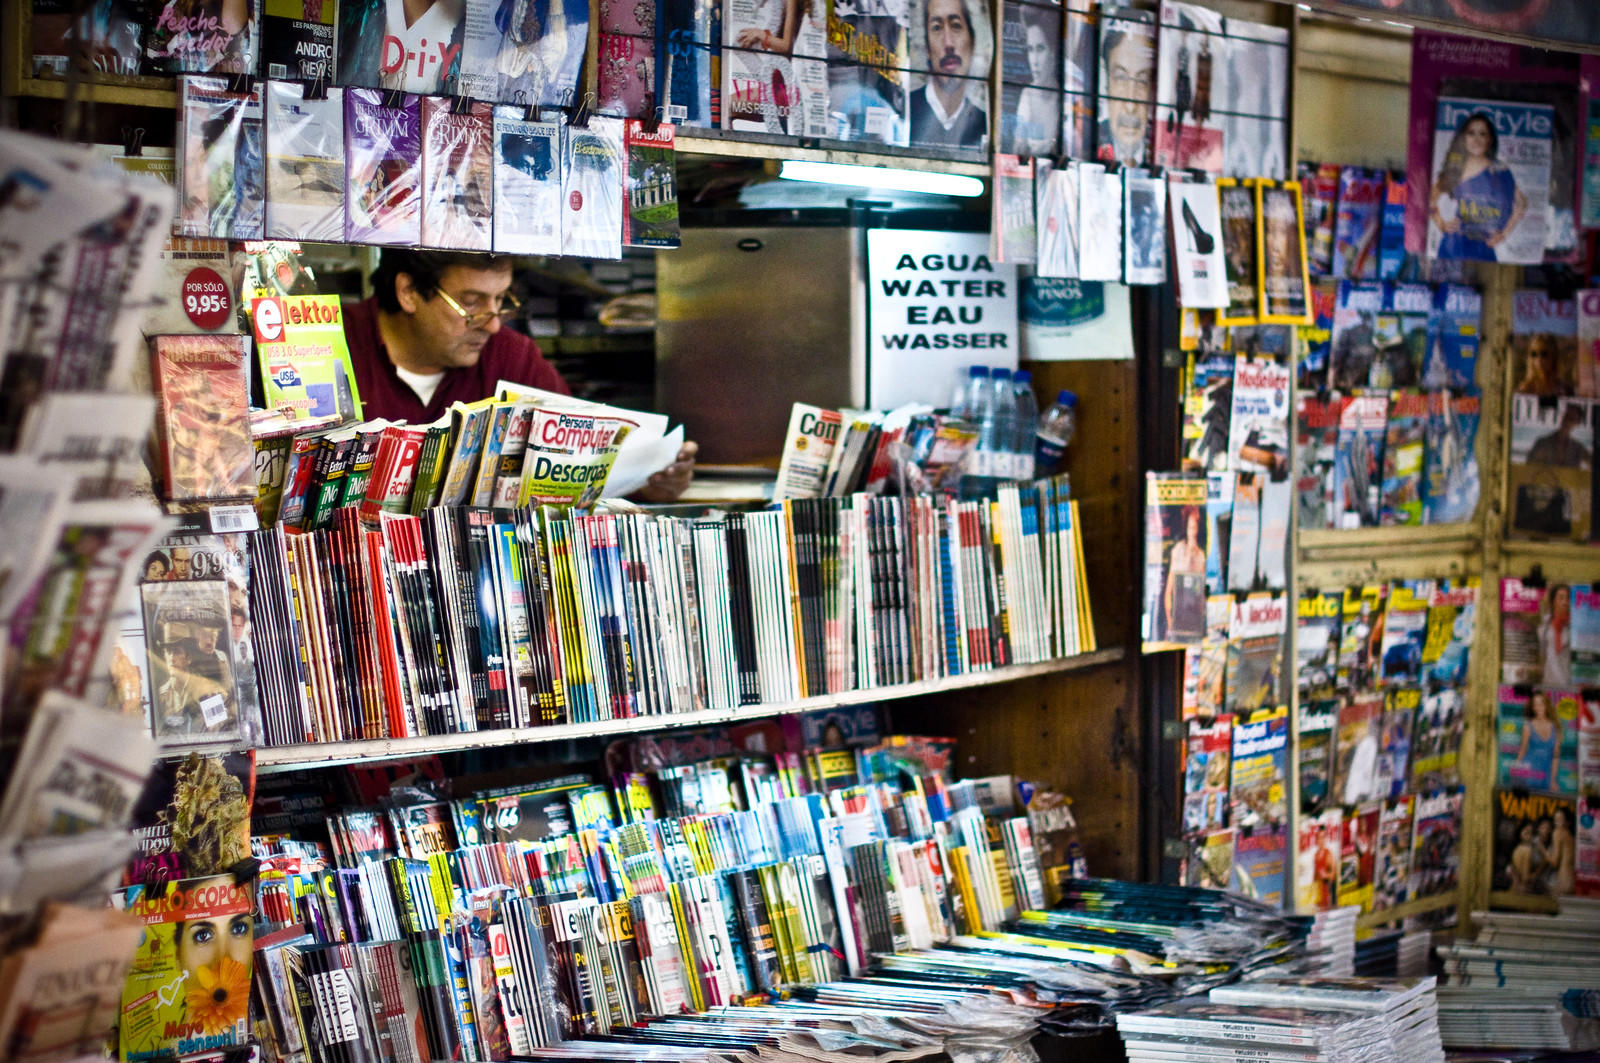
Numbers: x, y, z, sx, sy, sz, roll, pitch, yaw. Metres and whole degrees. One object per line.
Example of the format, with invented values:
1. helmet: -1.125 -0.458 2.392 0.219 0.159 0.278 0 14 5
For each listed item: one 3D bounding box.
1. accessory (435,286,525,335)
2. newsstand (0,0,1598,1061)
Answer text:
1. accessory: -0.897 -0.612 4.235 0.135 0.044 0.138 -19 64 -48
2. newsstand: 0.462 -0.117 4.677 4.727 3.083 1.675 -9 24 -31
